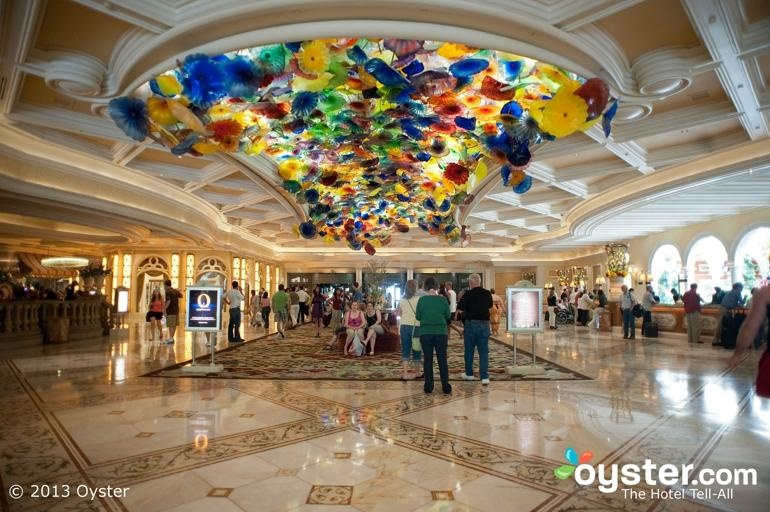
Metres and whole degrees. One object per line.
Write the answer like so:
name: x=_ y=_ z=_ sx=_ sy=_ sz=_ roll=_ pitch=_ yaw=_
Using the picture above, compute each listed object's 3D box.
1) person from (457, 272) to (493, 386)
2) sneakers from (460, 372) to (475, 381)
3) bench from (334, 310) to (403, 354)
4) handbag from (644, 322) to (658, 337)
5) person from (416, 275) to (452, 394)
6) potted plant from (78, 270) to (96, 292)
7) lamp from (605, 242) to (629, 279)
person: x=1.631 y=1.311 z=7.994 sx=0.603 sy=1.998 sz=0.776 roll=1 pitch=1 yaw=12
sneakers: x=1.555 y=2.268 z=8.177 sx=0.115 sy=0.096 sz=0.275 roll=0 pitch=0 yaw=-7
bench: x=-0.115 y=2.184 z=12.060 sx=1.337 sy=0.766 sz=1.119 roll=-9 pitch=-27 yaw=19
handbag: x=9.212 y=2.569 z=15.047 sx=0.360 sy=0.534 sz=0.480 roll=11 pitch=-14 yaw=-34
person: x=0.845 y=1.335 z=7.473 sx=0.629 sy=1.902 sz=0.678 roll=1 pitch=1 yaw=7
potted plant: x=-11.272 y=0.919 z=16.370 sx=0.666 sy=0.835 sz=0.340 roll=1 pitch=1 yaw=28
lamp: x=11.105 y=0.217 z=20.671 sx=0.788 sy=1.630 sz=0.951 roll=0 pitch=1 yaw=-23
